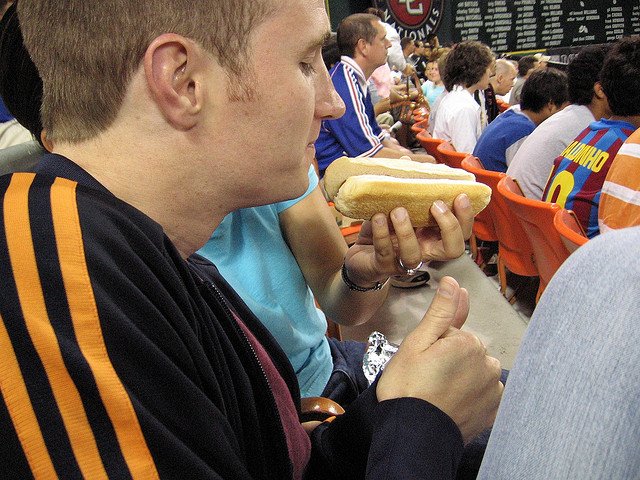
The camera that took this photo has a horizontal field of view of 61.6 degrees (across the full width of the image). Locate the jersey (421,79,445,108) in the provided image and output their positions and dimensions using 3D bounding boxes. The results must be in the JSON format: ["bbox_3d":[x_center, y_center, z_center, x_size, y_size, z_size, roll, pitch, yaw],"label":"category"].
[{"bbox_3d":[1.555,-2.054,7.398,0.349,0.513,0.171,5,-2,10],"label":"jersey"}]

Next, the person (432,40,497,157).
[{"bbox_3d":[1.383,-1.239,5.093,0.611,1.187,0.674,-5,26,-7],"label":"person"}]

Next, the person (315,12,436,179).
[{"bbox_3d":[0.474,-0.929,4.336,1.007,1.680,0.669,-1,20,-9],"label":"person"}]

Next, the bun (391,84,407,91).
[{"bbox_3d":[1.111,-2.132,7.504,0.188,0.092,0.507,-7,15,8],"label":"bun"}]

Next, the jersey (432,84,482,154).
[{"bbox_3d":[1.318,-1.097,4.838,0.361,0.607,0.638,-12,15,-16],"label":"jersey"}]

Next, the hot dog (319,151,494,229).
[{"bbox_3d":[0.176,-0.101,1.153,0.302,0.129,0.175,6,44,-23],"label":"hot dog"}]

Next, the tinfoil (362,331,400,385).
[{"bbox_3d":[0.160,0.312,1.422,0.093,0.127,0.046,29,-10,5],"label":"tinfoil"}]
